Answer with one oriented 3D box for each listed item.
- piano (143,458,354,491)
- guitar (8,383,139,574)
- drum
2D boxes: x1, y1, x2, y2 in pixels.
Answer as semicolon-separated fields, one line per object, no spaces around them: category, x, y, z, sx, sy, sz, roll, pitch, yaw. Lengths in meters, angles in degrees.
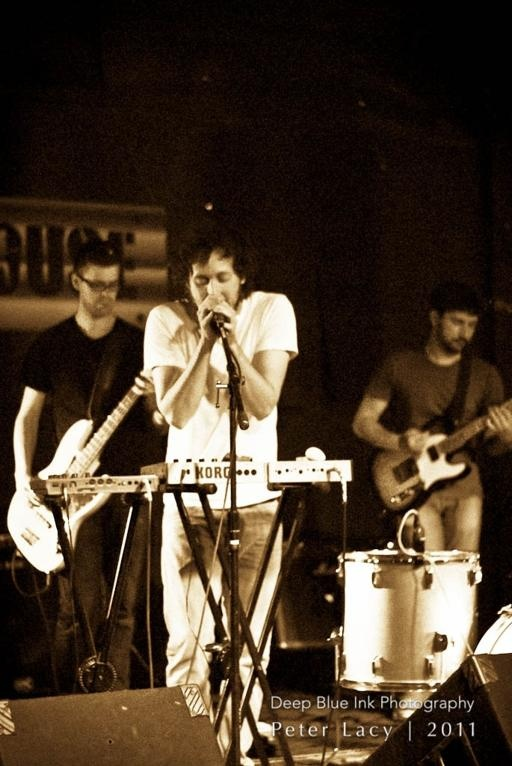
piano;-0.026;0.286;3.252;0.637;0.116;0.207;0;8;-1
guitar;-0.687;0.382;3.971;0.267;0.751;0.081;34;-12;5
drum;0.568;0.838;3.880;0.496;0.459;0.513;-1;-5;28
